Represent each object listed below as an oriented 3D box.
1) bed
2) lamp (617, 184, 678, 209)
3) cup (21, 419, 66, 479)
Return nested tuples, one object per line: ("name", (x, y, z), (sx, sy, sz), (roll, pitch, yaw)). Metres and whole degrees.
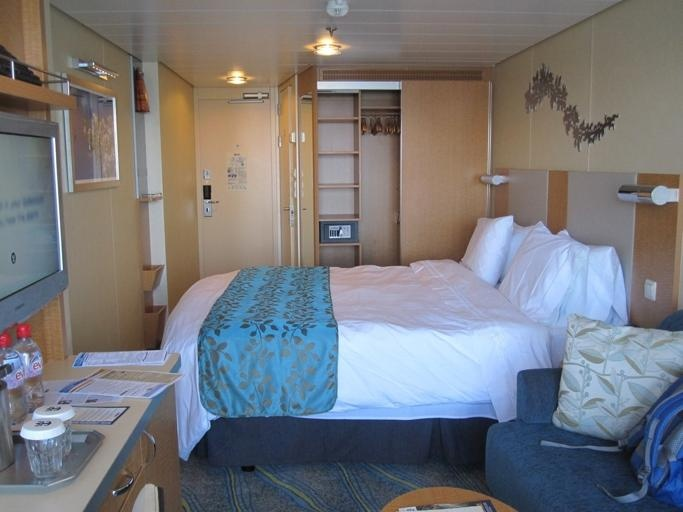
("bed", (0.466, 0.251, 3.651), (2.579, 1.596, 1.756), (1, 12, 2))
("lamp", (1.765, -0.352, 3.094), (0.152, 0.118, 0.355), (-3, 8, -7))
("cup", (-0.945, 0.620, 1.714), (0.127, 0.157, 0.129), (-1, 2, 0))
